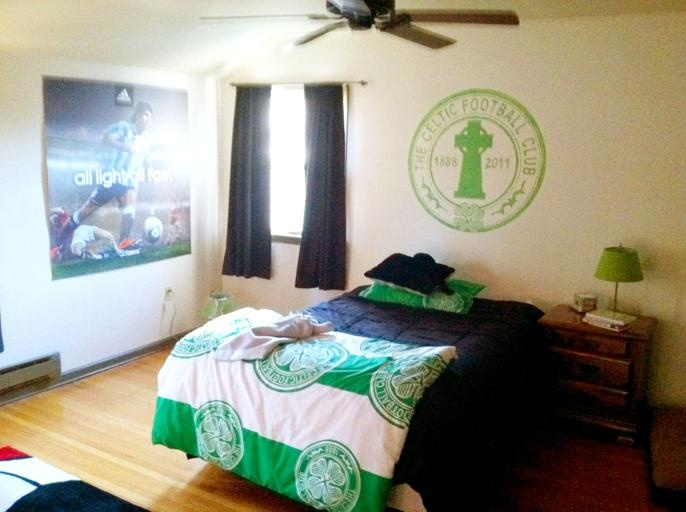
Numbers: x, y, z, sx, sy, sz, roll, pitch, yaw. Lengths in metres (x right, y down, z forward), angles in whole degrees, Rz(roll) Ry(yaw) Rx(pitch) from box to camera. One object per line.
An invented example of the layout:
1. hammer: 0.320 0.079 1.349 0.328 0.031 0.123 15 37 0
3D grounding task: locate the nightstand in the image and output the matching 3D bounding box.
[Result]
1. nightstand: 1.909 0.867 3.961 0.716 0.757 0.535 4 5 44

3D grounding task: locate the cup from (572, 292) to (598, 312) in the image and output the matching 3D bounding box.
1. cup: 1.820 0.339 3.995 0.142 0.125 0.141 0 11 0

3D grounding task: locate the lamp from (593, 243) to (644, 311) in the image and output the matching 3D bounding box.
1. lamp: 1.988 0.200 3.831 0.273 0.523 0.274 -19 23 -36

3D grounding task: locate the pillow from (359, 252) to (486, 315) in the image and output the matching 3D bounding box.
1. pillow: 0.615 0.208 4.267 0.749 0.279 0.499 3 22 35
